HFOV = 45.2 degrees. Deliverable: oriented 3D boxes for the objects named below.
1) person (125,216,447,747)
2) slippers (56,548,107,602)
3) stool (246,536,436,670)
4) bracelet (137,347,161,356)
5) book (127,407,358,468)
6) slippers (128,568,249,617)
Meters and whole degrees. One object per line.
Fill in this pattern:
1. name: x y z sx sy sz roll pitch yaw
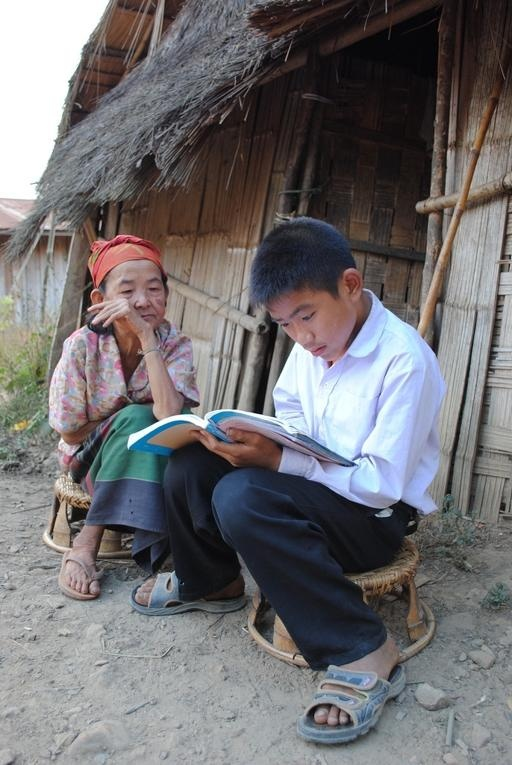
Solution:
1. person: 0.172 0.171 1.867 0.697 1.339 0.873 -7 10 -36
2. slippers: -0.662 0.715 2.284 0.193 0.139 0.119 2 8 21
3. stool: 0.322 0.697 2.042 0.598 0.200 0.597 -3 -2 15
4. bracelet: -0.419 -0.123 2.378 0.065 0.020 0.051 -19 4 1
5. book: -0.102 0.138 1.725 0.453 0.065 0.208 -2 -23 22
6. slippers: -0.262 0.747 2.221 0.376 0.140 0.159 2 -5 -7
